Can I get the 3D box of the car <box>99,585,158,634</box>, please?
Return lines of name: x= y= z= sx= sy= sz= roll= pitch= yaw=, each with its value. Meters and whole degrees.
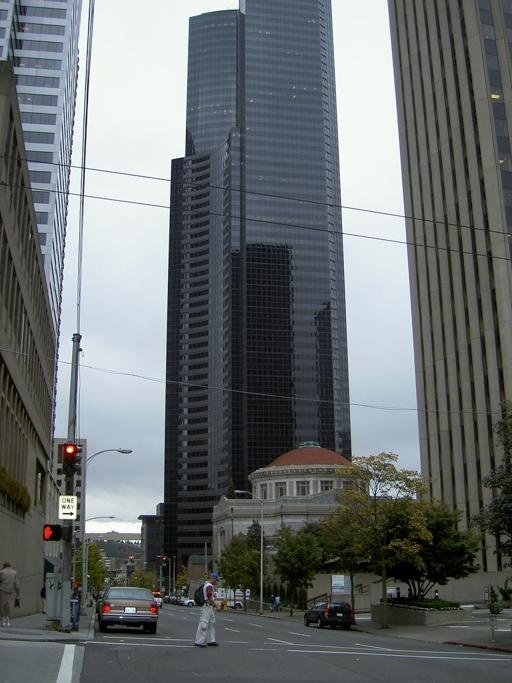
car: x=-3.566 y=7.497 z=24.185 sx=1.016 sy=0.770 sz=1.944 roll=2 pitch=-6 yaw=-6

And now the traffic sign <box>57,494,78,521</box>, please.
traffic sign: x=-4.810 y=4.181 z=21.877 sx=0.433 sy=0.590 sz=0.662 roll=4 pitch=-18 yaw=-17

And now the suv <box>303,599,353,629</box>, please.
suv: x=3.210 y=11.828 z=37.224 sx=1.124 sy=0.836 sz=2.470 roll=5 pitch=-13 yaw=-11

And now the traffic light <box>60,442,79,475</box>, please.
traffic light: x=-4.648 y=2.866 z=21.551 sx=0.415 sy=0.895 sz=1.107 roll=2 pitch=-18 yaw=-12

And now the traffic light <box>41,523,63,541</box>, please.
traffic light: x=-5.017 y=4.667 z=21.155 sx=0.386 sy=0.392 sz=0.653 roll=-4 pitch=-17 yaw=10
